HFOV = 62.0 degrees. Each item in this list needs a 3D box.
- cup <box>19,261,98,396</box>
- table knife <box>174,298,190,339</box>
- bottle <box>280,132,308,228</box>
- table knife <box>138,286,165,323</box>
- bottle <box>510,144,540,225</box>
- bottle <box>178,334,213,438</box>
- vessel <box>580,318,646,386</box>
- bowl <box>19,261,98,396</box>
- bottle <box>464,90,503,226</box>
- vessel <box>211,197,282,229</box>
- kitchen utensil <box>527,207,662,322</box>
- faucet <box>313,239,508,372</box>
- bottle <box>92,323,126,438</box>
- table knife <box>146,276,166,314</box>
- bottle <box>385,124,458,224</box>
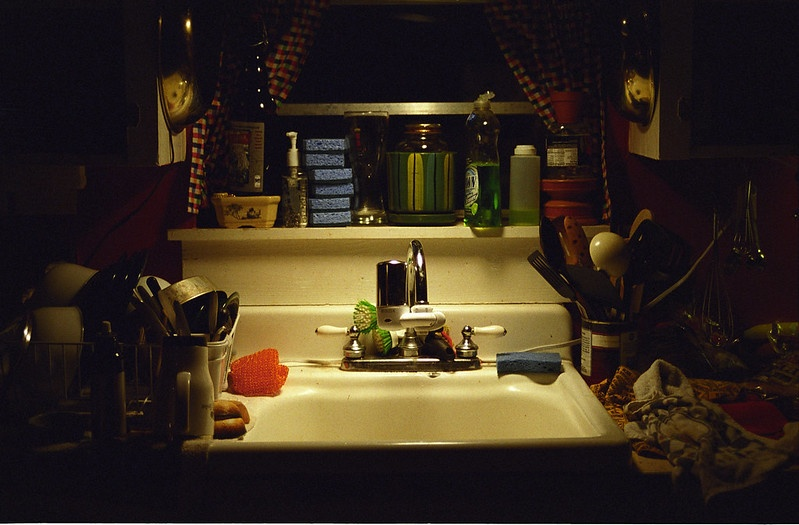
[{"bbox_3d":[-0.859,0.171,1.688,0.162,0.326,0.177,-2,8,0],"label":"cup"},{"bbox_3d":[-0.518,0.124,1.547,0.021,0.036,0.149,-38,35,-2],"label":"table knife"},{"bbox_3d":[-0.315,-0.237,1.922,0.069,0.265,0.113,-6,9,-28],"label":"bottle"},{"bbox_3d":[-0.626,0.106,1.673,0.041,0.079,0.131,-7,9,-33],"label":"table knife"},{"bbox_3d":[0.369,-0.224,1.915,0.108,0.230,0.083,-3,8,-8],"label":"bottle"},{"bbox_3d":[-0.465,0.283,1.507,0.078,0.228,0.062,-5,9,-20],"label":"bottle"},{"bbox_3d":[0.583,0.238,1.893,0.195,0.212,0.190,-3,18,2],"label":"vessel"},{"bbox_3d":[-0.859,0.171,1.688,0.162,0.326,0.177,-2,8,0],"label":"bowl"},{"bbox_3d":[0.238,-0.290,1.915,0.110,0.379,0.185,-1,8,8],"label":"bottle"},{"bbox_3d":[-0.429,-0.145,1.879,0.190,0.102,0.059,-3,8,-13],"label":"vessel"},{"bbox_3d":[0.527,0.006,1.833,0.243,0.296,0.241,-9,11,-44],"label":"kitchen utensil"},{"bbox_3d":[0.038,0.126,1.843,0.514,0.356,0.286,0,-5,-4],"label":"faucet"},{"bbox_3d":[-0.672,0.267,1.522,0.075,0.253,0.132,-5,9,-23],"label":"bottle"},{"bbox_3d":[-0.626,0.066,1.708,0.038,0.021,0.165,-25,47,1],"label":"table knife"},{"bbox_3d":[0.059,-0.257,1.929,0.208,0.294,0.156,-1,8,1],"label":"bottle"}]
